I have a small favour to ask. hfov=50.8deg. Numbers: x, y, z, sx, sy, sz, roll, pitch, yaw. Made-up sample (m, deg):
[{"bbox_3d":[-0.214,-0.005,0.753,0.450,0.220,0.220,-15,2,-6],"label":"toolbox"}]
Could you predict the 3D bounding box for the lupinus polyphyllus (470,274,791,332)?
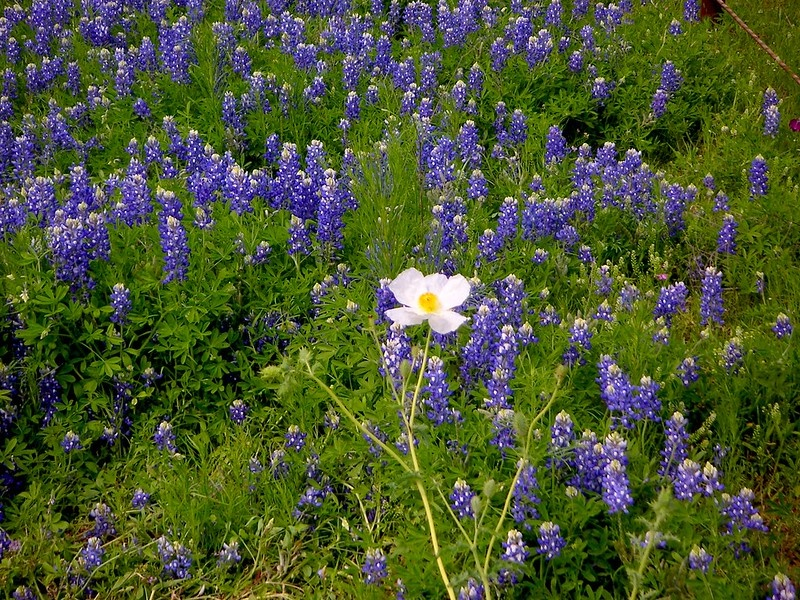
[{"bbox_3d":[1.706,-0.176,5.475,1.066,0.291,1.152,-20,23,-37],"label":"lupinus polyphyllus"}]
